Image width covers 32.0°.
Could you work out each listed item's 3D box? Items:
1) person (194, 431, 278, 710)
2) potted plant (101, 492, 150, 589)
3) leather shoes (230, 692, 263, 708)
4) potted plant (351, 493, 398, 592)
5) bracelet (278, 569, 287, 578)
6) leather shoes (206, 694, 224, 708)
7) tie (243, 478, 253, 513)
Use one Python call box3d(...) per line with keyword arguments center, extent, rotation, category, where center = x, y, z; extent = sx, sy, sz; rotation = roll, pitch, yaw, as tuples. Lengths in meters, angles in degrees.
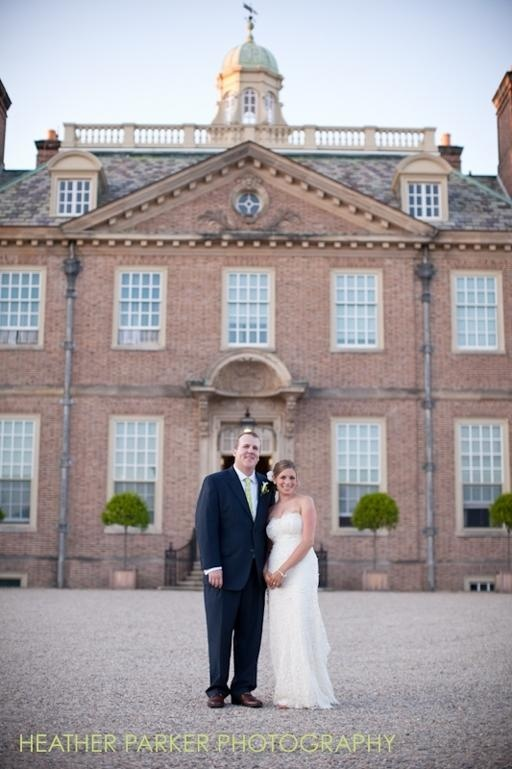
box3d(center=(-0.138, 1.261, 6.205), extent=(0.580, 1.846, 0.427), rotation=(2, -9, -13), category="person")
box3d(center=(-2.642, 3.226, 18.425), extent=(0.851, 1.943, 1.102), rotation=(-2, -9, 13), category="potted plant")
box3d(center=(-0.062, 2.135, 6.031), extent=(0.219, 0.092, 0.081), rotation=(-13, -13, 43), category="leather shoes")
box3d(center=(2.502, 3.168, 18.343), extent=(1.095, 2.079, 1.144), rotation=(-8, -19, 16), category="potted plant")
box3d(center=(0.184, 1.305, 6.154), extent=(0.042, 0.030, 0.056), rotation=(10, -1, -35), category="bracelet")
box3d(center=(-0.270, 2.100, 5.891), extent=(0.106, 0.075, 0.139), rotation=(1, -9, -5), category="leather shoes")
box3d(center=(-0.055, 0.774, 6.318), extent=(0.041, 0.283, 0.032), rotation=(-2, -14, -11), category="tie")
